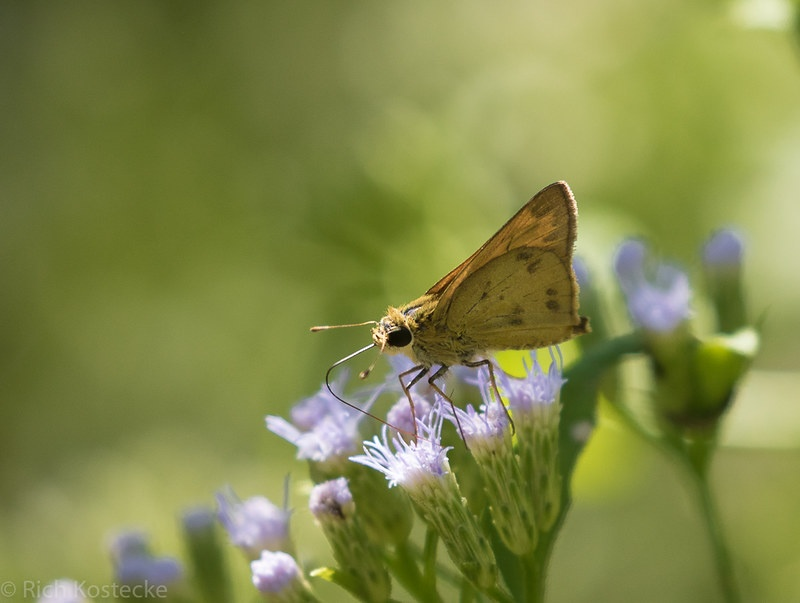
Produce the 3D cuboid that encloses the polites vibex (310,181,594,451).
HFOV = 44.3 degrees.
[{"bbox_3d":[0.090,0.080,1.761,0.482,0.489,0.302,3,-39,-19],"label":"polites vibex"}]

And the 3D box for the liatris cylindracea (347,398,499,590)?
[{"bbox_3d":[0.053,0.312,1.578,0.177,0.385,0.169,-3,5,-3],"label":"liatris cylindracea"}]
